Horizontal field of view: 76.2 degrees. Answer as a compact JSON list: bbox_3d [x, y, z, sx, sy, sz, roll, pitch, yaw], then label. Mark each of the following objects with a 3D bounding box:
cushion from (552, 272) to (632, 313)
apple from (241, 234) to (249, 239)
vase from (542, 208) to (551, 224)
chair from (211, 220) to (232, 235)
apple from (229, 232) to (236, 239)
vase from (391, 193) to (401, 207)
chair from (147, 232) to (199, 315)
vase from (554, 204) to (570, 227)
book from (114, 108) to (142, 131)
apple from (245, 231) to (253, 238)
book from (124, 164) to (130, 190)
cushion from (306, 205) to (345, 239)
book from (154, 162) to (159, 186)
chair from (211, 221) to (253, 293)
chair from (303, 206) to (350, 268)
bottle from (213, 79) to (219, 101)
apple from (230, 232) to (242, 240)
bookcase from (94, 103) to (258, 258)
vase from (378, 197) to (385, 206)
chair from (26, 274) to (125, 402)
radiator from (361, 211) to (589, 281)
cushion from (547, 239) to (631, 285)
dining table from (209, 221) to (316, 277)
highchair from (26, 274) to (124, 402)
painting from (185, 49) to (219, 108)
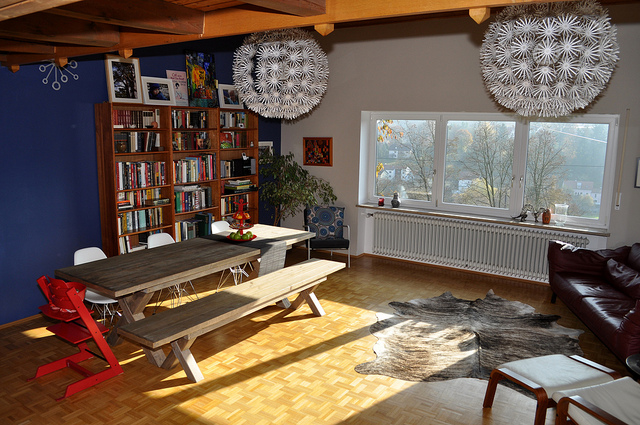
[{"bbox_3d":[3.822,1.122,5.987,0.954,0.349,1.102,2,9,9],"label":"cushion"},{"bbox_3d":[-1.094,0.358,5.951,0.091,0.062,0.051,-2,10,-9],"label":"apple"},{"bbox_3d":[3.937,0.075,7.061,0.176,0.252,0.123,0,11,3],"label":"vase"},{"bbox_3d":[-1.666,0.248,6.769,0.285,0.319,0.272,-4,8,-38],"label":"chair"},{"bbox_3d":[-1.275,0.343,5.993,0.082,0.084,0.078,5,-10,-30],"label":"apple"},{"bbox_3d":[1.518,-0.238,8.248,0.170,0.274,0.137,-4,11,-19],"label":"vase"},{"bbox_3d":[-2.405,0.769,6.749,1.131,1.292,0.983,1,4,35],"label":"chair"},{"bbox_3d":[4.148,0.049,7.024,0.208,0.340,0.353,6,11,29],"label":"vase"},{"bbox_3d":[-3.012,-1.430,6.336,0.228,0.327,0.405,6,11,25],"label":"book"},{"bbox_3d":[-1.043,0.332,5.997,0.093,0.079,0.047,7,-25,-11],"label":"apple"},{"bbox_3d":[-3.033,-0.553,6.370,0.021,0.358,0.100,7,13,35],"label":"book"},{"bbox_3d":[0.078,0.210,8.083,0.805,0.675,0.182,2,-2,0],"label":"cushion"},{"bbox_3d":[-2.733,-0.619,6.790,0.078,0.274,0.299,-1,10,-19],"label":"book"},{"bbox_3d":[-1.481,0.711,6.900,0.653,1.020,0.565,19,15,37],"label":"chair"},{"bbox_3d":[0.142,0.447,8.217,1.250,1.370,1.139,0,1,-10],"label":"chair"},{"bbox_3d":[-1.987,-2.332,7.769,0.057,0.374,0.160,3,11,16],"label":"bottle"},{"bbox_3d":[-1.240,0.347,5.922,0.131,0.050,0.077,15,34,31],"label":"apple"},{"bbox_3d":[-2.505,-0.519,6.774,0.594,2.503,2.946,11,15,39],"label":"bookcase"},{"bbox_3d":[1.245,-0.209,8.400,0.156,0.139,0.141,1,3,-1],"label":"vase"},{"bbox_3d":[-2.678,1.315,4.860,0.934,1.379,0.998,6,11,30],"label":"chair"},{"bbox_3d":[2.619,0.559,7.840,3.956,0.922,0.218,6,10,35],"label":"radiator"},{"bbox_3d":[4.213,0.716,6.748,1.411,0.647,0.874,1,4,6],"label":"cushion"},{"bbox_3d":[-1.012,0.412,6.188,1.011,0.226,1.068,9,13,36],"label":"dining table"},{"bbox_3d":[-2.669,1.293,4.838,0.984,1.332,0.981,7,11,33],"label":"highchair"},{"bbox_3d":[-2.196,-2.424,7.485,0.038,0.998,0.813,7,13,25],"label":"painting"}]
